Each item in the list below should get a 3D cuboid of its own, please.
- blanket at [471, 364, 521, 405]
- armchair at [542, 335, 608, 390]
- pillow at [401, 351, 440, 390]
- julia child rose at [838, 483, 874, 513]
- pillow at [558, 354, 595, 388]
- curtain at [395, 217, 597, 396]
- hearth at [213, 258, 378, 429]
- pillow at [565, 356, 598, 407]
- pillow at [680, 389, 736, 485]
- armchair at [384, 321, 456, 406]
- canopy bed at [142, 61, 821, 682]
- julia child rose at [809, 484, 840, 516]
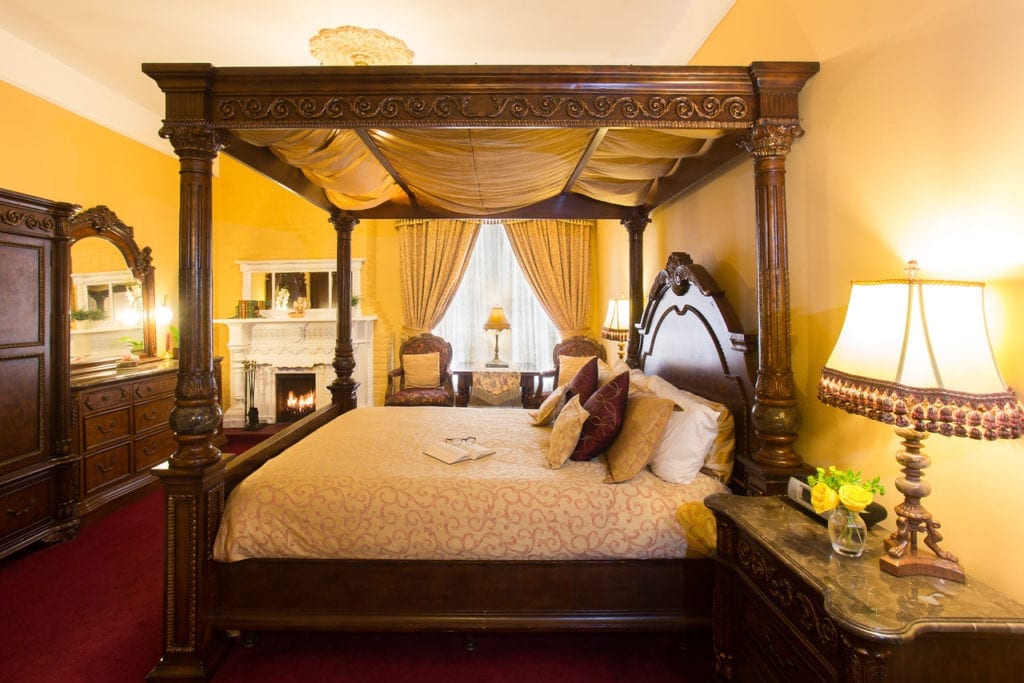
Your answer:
[{"bbox_3d":[-0.181,0.530,8.312,0.510,0.321,0.516,1,4,0],"label":"blanket"},{"bbox_3d":[0.752,0.220,8.413,0.550,0.929,0.633,0,-10,4],"label":"armchair"},{"bbox_3d":[-1.048,0.346,8.240,0.385,0.395,0.140,0,-17,-2],"label":"pillow"},{"bbox_3d":[1.811,0.817,3.764,0.143,0.078,0.144,0,0,8],"label":"julia child rose"},{"bbox_3d":[0.590,0.275,6.636,0.312,0.359,0.137,3,-18,6],"label":"pillow"},{"bbox_3d":[-0.184,-0.482,8.556,2.109,1.883,0.231,0,0,0],"label":"curtain"},{"bbox_3d":[-2.438,0.050,8.234,2.000,2.323,0.698,0,1,-4],"label":"hearth"},{"bbox_3d":[0.556,0.326,5.733,0.133,0.246,0.292,6,-16,-5],"label":"pillow"},{"bbox_3d":[1.371,0.673,4.824,0.177,0.459,0.445,4,-6,-16],"label":"pillow"},{"bbox_3d":[-1.023,0.282,8.151,0.799,1.080,0.772,0,-6,-3],"label":"armchair"},{"bbox_3d":[-0.165,0.087,6.184,3.831,3.682,3.904,0,-3,1],"label":"canopy bed"},{"bbox_3d":[1.675,0.838,3.895,0.150,0.144,0.093,-27,38,-32],"label":"julia child rose"}]
